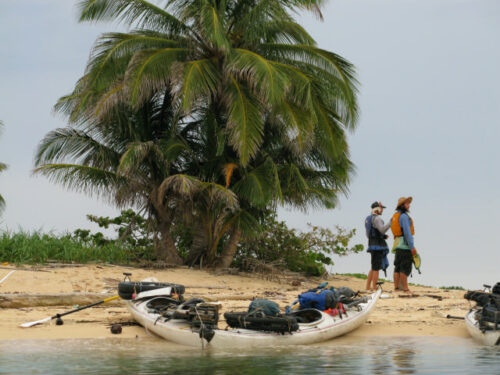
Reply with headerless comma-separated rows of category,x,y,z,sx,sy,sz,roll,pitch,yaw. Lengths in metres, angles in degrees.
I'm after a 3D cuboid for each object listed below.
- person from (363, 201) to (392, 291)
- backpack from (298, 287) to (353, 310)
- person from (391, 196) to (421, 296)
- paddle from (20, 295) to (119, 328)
person,3.335,1.579,15.584,0.619,2.411,0.929,1,4,13
backpack,1.373,2.047,11.037,0.812,0.285,0.460,-1,-3,-39
person,3.966,1.532,15.321,0.644,2.475,0.876,1,4,2
paddle,-3.734,2.537,12.115,2.018,0.169,0.348,-5,12,-35
